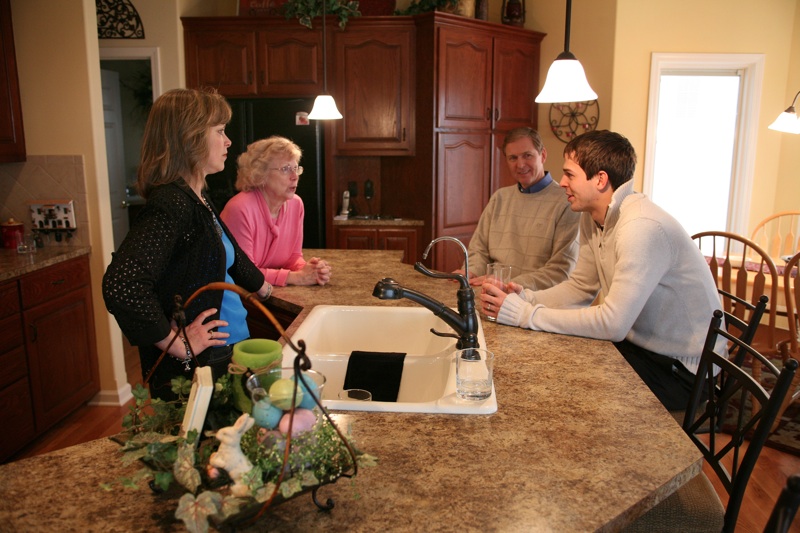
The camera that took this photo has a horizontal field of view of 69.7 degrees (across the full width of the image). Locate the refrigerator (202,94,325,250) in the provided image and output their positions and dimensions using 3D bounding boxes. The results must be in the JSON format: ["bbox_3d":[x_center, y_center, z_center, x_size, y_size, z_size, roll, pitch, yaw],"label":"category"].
[{"bbox_3d":[-1.184,-0.719,5.860,1.079,2.058,0.977,8,25,15],"label":"refrigerator"}]

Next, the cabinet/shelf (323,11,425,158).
[{"bbox_3d":[-0.242,-1.584,5.537,0.824,1.384,0.474,-1,-10,2],"label":"cabinet/shelf"}]

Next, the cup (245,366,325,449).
[{"bbox_3d":[-0.255,0.332,1.496,0.129,0.139,0.169,-10,-5,-7],"label":"cup"}]

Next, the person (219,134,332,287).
[{"bbox_3d":[-0.658,-0.289,3.116,0.681,0.770,0.500,12,12,25],"label":"person"}]

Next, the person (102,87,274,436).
[{"bbox_3d":[-0.862,-0.050,2.219,0.419,1.227,0.769,0,16,0],"label":"person"}]

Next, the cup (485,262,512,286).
[{"bbox_3d":[0.478,0.035,2.654,0.132,0.127,0.114,2,-1,-29],"label":"cup"}]

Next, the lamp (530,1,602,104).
[{"bbox_3d":[0.852,-1.091,2.848,0.284,0.528,0.646,5,16,16],"label":"lamp"}]

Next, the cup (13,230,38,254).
[{"bbox_3d":[-2.429,-0.155,3.738,0.158,0.155,0.161,2,6,0],"label":"cup"}]

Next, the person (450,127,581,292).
[{"bbox_3d":[0.700,-0.342,3.506,0.725,0.975,0.693,-15,23,-30],"label":"person"}]

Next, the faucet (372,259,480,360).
[{"bbox_3d":[0.097,0.164,2.180,0.415,0.374,0.286,-4,16,-15],"label":"faucet"}]

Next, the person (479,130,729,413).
[{"bbox_3d":[0.955,0.247,2.750,1.150,1.650,0.691,1,12,5],"label":"person"}]

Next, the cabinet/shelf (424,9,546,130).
[{"bbox_3d":[0.807,-1.627,5.618,1.237,1.227,0.406,-3,8,-22],"label":"cabinet/shelf"}]

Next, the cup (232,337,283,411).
[{"bbox_3d":[-0.382,0.324,1.655,0.176,0.205,0.175,3,20,-1],"label":"cup"}]

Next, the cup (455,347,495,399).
[{"bbox_3d":[0.256,0.375,1.938,0.134,0.148,0.137,2,-8,0],"label":"cup"}]
